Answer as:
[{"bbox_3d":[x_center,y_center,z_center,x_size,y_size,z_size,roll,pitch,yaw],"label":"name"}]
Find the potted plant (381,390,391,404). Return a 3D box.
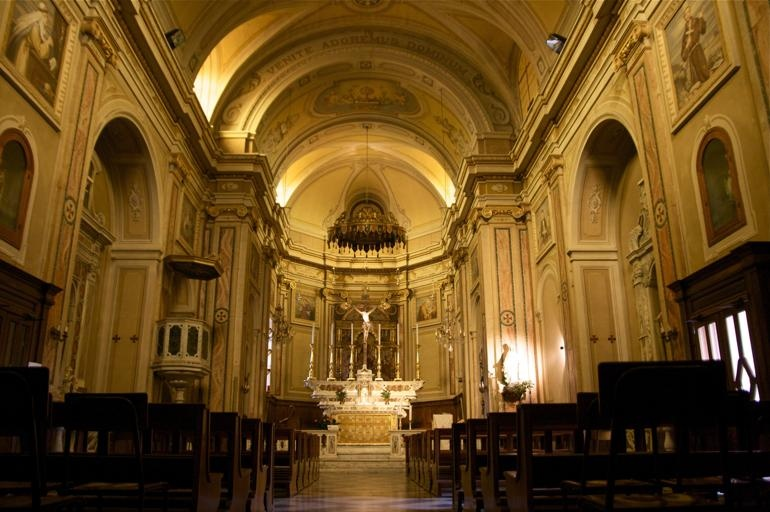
[{"bbox_3d":[0.019,4.813,19.490,0.330,0.432,0.257,7,-24,-16],"label":"potted plant"}]

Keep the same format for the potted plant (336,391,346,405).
[{"bbox_3d":[-1.522,4.858,19.505,0.374,0.729,0.398,-1,-6,-2],"label":"potted plant"}]
